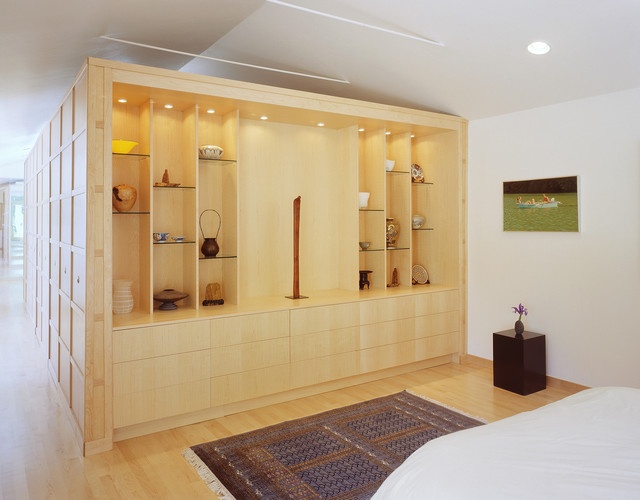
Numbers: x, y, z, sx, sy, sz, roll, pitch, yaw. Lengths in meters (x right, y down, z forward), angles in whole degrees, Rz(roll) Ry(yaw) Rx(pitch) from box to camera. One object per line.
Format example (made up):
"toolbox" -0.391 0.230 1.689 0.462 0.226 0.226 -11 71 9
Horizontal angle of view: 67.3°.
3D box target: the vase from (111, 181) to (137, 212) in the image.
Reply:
"vase" -1.621 -0.449 4.115 0.226 0.229 0.222 -2 7 -5

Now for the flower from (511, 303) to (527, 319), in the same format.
"flower" 2.072 0.632 4.996 0.168 0.138 0.165 0 1 10
